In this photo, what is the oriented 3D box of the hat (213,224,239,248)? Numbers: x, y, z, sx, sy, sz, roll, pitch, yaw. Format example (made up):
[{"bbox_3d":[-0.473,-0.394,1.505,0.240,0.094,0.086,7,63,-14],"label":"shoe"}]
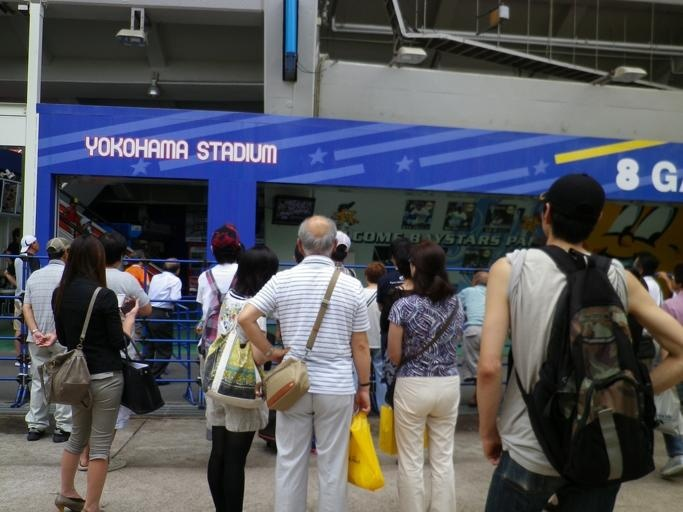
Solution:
[{"bbox_3d":[-1.409,-0.229,11.039,0.332,0.274,0.206,1,3,-10],"label":"hat"}]

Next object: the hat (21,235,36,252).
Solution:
[{"bbox_3d":[-4.525,-0.165,13.145,0.148,0.293,0.122,6,-22,30],"label":"hat"}]

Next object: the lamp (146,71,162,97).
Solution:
[{"bbox_3d":[-4.221,-3.799,20.436,0.238,0.545,0.495,0,3,-13],"label":"lamp"}]

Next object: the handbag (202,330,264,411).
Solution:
[{"bbox_3d":[-1.149,1.237,9.794,0.669,1.073,0.471,2,-10,2],"label":"handbag"}]

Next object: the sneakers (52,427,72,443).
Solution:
[{"bbox_3d":[-3.672,2.327,11.926,0.169,0.160,0.344,2,-6,-1],"label":"sneakers"}]

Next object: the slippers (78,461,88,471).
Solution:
[{"bbox_3d":[-3.138,2.534,11.009,0.110,0.108,0.229,2,0,-3],"label":"slippers"}]
